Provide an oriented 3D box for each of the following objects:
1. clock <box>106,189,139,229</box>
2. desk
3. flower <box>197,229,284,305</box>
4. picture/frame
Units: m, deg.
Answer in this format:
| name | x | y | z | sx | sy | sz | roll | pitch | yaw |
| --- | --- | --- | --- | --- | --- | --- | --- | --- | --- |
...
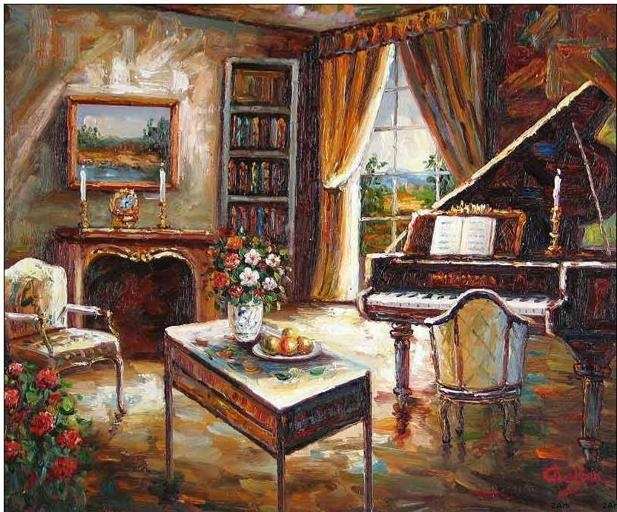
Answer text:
| name | x | y | z | sx | sy | sz | roll | pitch | yaw |
| --- | --- | --- | --- | --- | --- | --- | --- | --- | --- |
| clock | -1.470 | -0.390 | 4.802 | 0.215 | 0.308 | 0.182 | 0 | 10 | -21 |
| desk | -0.262 | 0.822 | 3.238 | 0.584 | 0.787 | 1.172 | -1 | 2 | -44 |
| flower | -0.341 | 0.087 | 3.493 | 0.412 | 0.387 | 0.428 | 1 | -8 | 0 |
| picture/frame | -1.546 | -0.925 | 4.826 | 0.749 | 0.683 | 0.078 | -1 | 6 | -21 |
